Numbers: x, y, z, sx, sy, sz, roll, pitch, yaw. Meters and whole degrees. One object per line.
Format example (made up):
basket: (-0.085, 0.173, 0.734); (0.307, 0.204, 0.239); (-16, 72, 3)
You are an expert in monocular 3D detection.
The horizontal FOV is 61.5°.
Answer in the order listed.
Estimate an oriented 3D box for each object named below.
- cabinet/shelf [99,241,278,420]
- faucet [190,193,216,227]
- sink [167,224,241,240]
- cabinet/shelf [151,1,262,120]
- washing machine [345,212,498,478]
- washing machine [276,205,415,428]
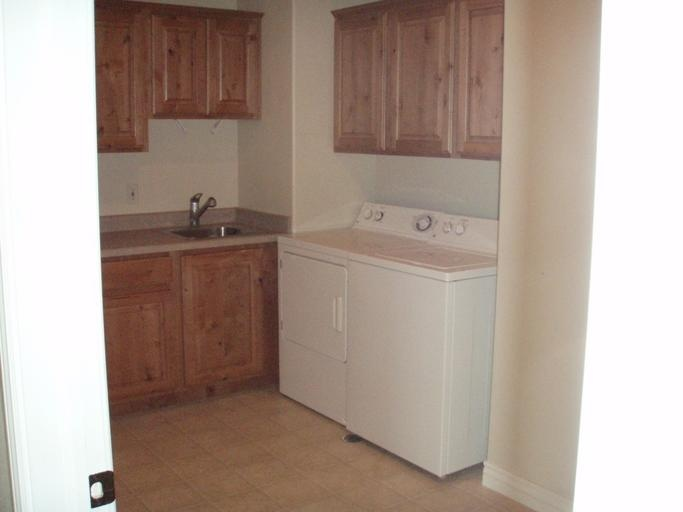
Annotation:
cabinet/shelf: (-0.942, 0.490, 3.822); (1.176, 1.003, 0.423); (-10, -16, 9)
faucet: (-0.985, -0.333, 4.092); (0.280, 0.230, 0.078); (-1, 3, 37)
sink: (-0.966, -0.169, 4.089); (0.481, 0.079, 0.234); (-6, 12, -32)
cabinet/shelf: (-0.905, -1.283, 3.765); (0.804, 0.714, 0.286); (-3, 6, -30)
washing machine: (0.523, 0.405, 3.219); (0.773, 1.191, 0.883); (-8, 13, -40)
washing machine: (0.086, 0.443, 3.780); (0.757, 1.351, 0.790); (-6, 9, -40)
